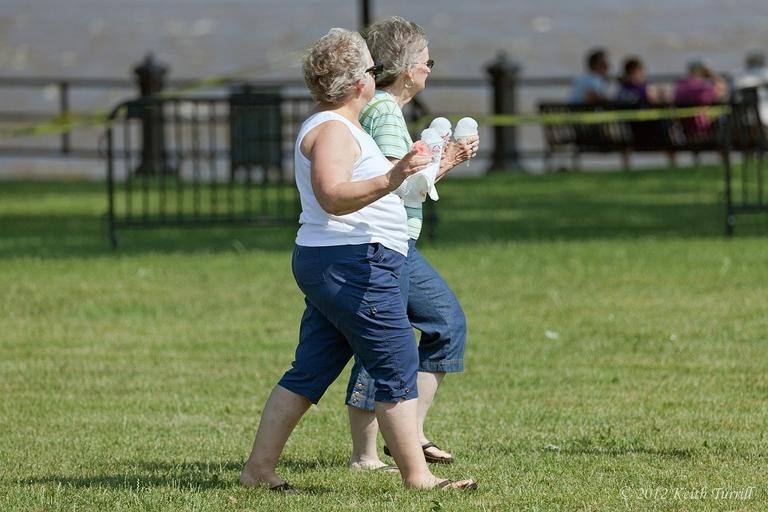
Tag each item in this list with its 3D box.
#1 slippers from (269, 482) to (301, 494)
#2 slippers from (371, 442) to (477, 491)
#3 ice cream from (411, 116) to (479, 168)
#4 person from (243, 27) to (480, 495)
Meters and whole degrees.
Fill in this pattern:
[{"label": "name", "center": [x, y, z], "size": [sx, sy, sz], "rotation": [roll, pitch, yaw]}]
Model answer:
[{"label": "slippers", "center": [-0.726, 1.693, 13.925], "size": [0.237, 0.090, 0.082], "rotation": [0, 0, -4]}, {"label": "slippers", "center": [0.381, 1.543, 14.021], "size": [0.707, 0.281, 0.557], "rotation": [0, 1, 2]}, {"label": "ice cream", "center": [0.424, -0.936, 14.299], "size": [0.552, 0.228, 0.184], "rotation": [-8, 33, 7]}, {"label": "person", "center": [-0.247, 0.049, 13.723], "size": [1.382, 3.340, 0.551], "rotation": [-2, 4, 1]}]
